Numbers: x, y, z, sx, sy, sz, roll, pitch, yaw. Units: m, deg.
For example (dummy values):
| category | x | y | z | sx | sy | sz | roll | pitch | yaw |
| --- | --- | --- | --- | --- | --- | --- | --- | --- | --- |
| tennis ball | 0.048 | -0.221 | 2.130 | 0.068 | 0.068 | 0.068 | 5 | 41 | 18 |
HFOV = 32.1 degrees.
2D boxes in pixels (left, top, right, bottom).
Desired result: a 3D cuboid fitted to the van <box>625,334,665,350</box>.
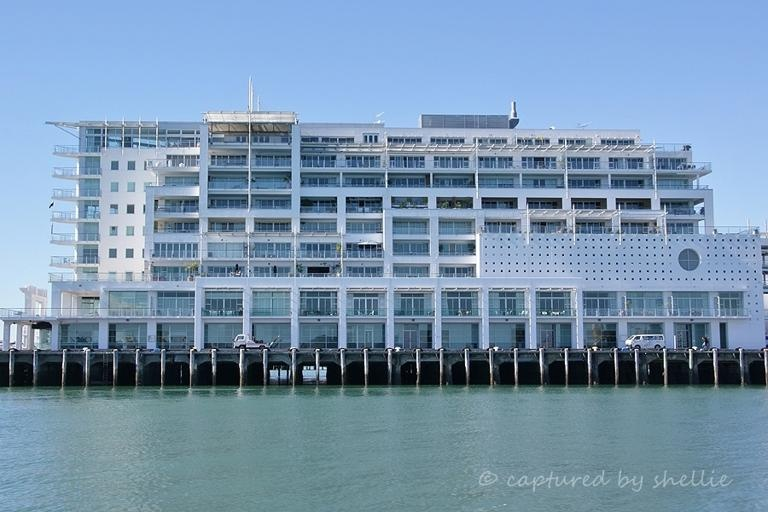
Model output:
| category | x | y | z | sx | sy | sz | roll | pitch | yaw |
| --- | --- | --- | --- | --- | --- | --- | --- | --- | --- |
| van | 34.836 | 11.273 | 176.472 | 4.233 | 1.380 | 2.254 | 1 | -6 | 2 |

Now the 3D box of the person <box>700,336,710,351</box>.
| category | x | y | z | sx | sy | sz | roll | pitch | yaw |
| --- | --- | --- | --- | --- | --- | --- | --- | --- | --- |
| person | 43.850 | 11.655 | 180.792 | 1.246 | 1.381 | 2.931 | 3 | 14 | 12 |

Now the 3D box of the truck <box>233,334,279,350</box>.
| category | x | y | z | sx | sy | sz | roll | pitch | yaw |
| --- | --- | --- | --- | --- | --- | --- | --- | --- | --- |
| truck | -17.032 | 11.211 | 174.265 | 4.918 | 1.792 | 2.453 | -1 | -4 | -2 |
